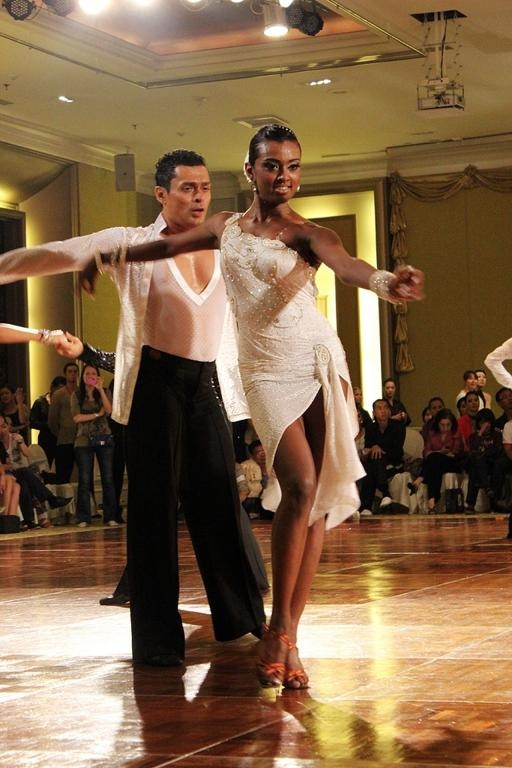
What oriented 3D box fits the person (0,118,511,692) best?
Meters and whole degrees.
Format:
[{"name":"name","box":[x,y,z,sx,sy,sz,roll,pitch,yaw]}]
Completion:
[{"name":"person","box":[0.097,0.024,1.838,0.416,1.417,1.130,1,-3,-40]}]

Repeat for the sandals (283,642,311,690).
[{"name":"sandals","box":[0.099,0.687,1.706,0.058,0.101,0.171,-1,-3,3]}]

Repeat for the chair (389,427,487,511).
[{"name":"chair","box":[2.738,1.263,9.664,1.154,1.144,1.025,-7,-12,39]}]

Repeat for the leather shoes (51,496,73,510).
[{"name":"leather shoes","box":[-2.606,1.584,9.254,0.318,0.102,0.199,-12,-36,-11]}]
